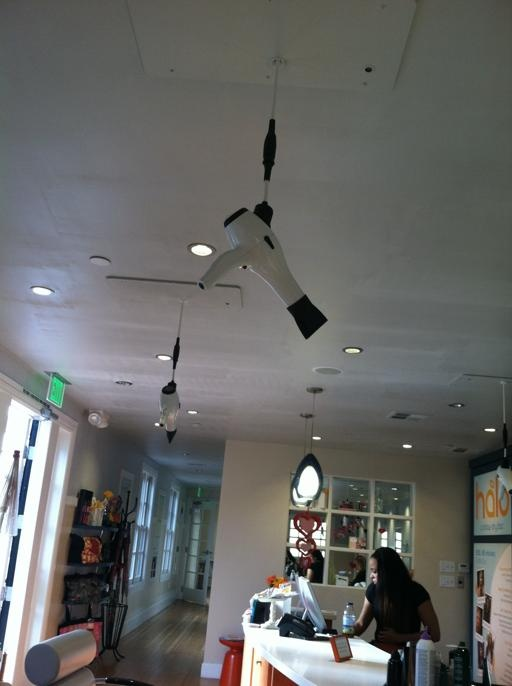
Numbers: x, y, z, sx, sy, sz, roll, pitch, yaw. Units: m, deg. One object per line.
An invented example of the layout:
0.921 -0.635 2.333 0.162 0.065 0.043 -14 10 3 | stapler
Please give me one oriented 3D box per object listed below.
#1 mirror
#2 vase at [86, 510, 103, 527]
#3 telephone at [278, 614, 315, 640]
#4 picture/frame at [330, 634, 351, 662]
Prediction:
1.351 2.772 7.294 1.887 1.498 0.212 -5 -27 25 | mirror
-2.048 2.249 6.441 0.117 0.218 0.391 7 -20 -4 | vase
0.278 1.999 3.519 0.242 0.118 0.269 5 -20 4 | telephone
0.444 1.696 2.787 0.034 0.124 0.128 -29 -40 23 | picture/frame
